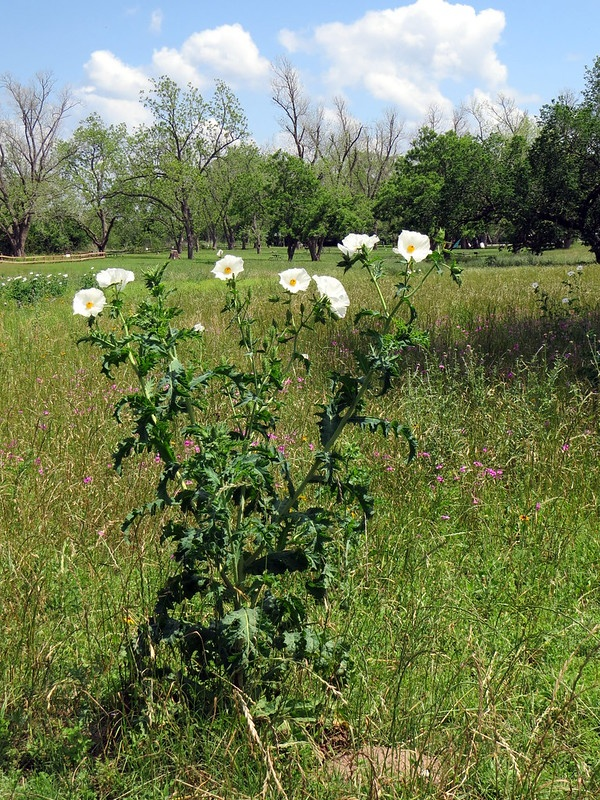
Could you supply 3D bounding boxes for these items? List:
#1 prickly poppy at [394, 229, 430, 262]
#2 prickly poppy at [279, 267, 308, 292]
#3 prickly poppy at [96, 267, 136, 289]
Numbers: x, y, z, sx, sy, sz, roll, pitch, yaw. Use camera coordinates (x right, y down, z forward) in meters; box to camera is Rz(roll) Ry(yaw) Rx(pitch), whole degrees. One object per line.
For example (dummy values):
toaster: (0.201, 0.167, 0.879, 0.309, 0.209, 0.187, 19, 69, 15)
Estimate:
prickly poppy: (0.367, -0.492, 2.474, 0.108, 0.100, 0.267, 4, 12, 7)
prickly poppy: (-0.020, -0.408, 2.606, 0.086, 0.094, 0.041, -14, 0, -22)
prickly poppy: (-0.626, -0.417, 2.614, 0.115, 0.057, 0.117, 16, 32, 37)
